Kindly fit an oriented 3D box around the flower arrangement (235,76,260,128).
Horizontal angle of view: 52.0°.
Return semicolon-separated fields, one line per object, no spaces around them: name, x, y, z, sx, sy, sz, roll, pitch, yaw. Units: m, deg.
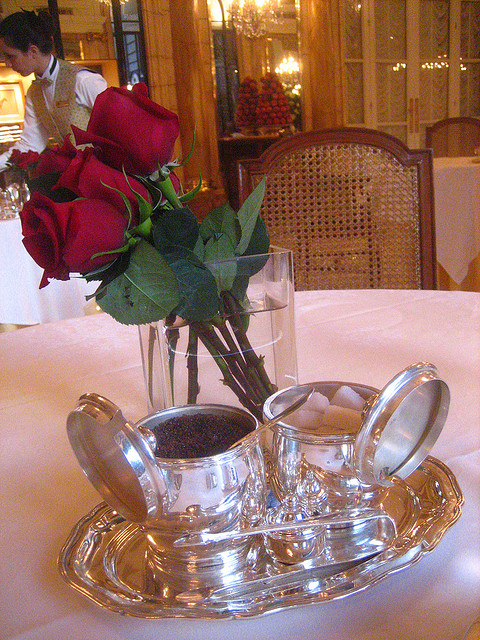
flower arrangement;0.066;-1.621;3.640;0.151;0.386;0.156;-1;-1;8

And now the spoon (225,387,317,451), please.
spoon;0.017;0.054;0.266;0.071;0.011;0.011;-38;36;29

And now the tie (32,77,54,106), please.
tie;-0.904;-1.068;2.284;0.095;0.118;0.025;4;2;7

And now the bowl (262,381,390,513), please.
bowl;0.040;0.073;0.261;0.046;0.054;0.048;1;10;0

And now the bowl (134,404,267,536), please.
bowl;-0.019;0.083;0.253;0.056;0.064;0.059;-3;16;1

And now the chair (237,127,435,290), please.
chair;0.207;-0.234;1.064;0.410;0.344;0.222;-5;14;0
